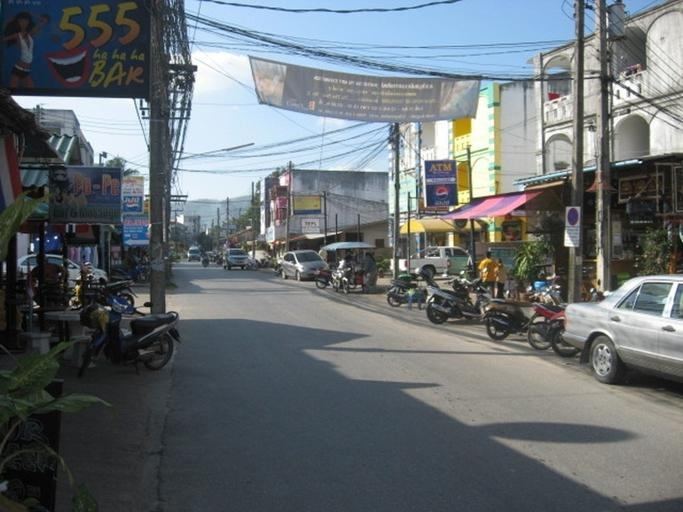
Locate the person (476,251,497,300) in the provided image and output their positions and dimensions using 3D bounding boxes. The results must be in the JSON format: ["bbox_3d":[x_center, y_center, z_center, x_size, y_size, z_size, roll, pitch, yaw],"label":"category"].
[{"bbox_3d":[4.415,0.572,21.372,0.545,1.597,0.473,0,21,11],"label":"person"}]

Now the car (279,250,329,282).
[{"bbox_3d":[-1.887,0.463,34.952,1.191,1.068,2.439,0,-2,-24],"label":"car"}]

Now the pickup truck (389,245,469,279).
[{"bbox_3d":[4.582,0.234,34.695,3.189,1.420,1.680,-3,3,-8],"label":"pickup truck"}]

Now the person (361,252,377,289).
[{"bbox_3d":[1.043,0.565,26.864,0.648,1.381,0.338,-5,8,-43],"label":"person"}]

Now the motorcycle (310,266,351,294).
[{"bbox_3d":[-0.434,1.009,28.271,1.491,0.938,0.686,3,-1,-37],"label":"motorcycle"}]

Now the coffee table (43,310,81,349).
[{"bbox_3d":[-4.982,1.295,12.705,0.491,0.418,0.794,3,-2,-26],"label":"coffee table"}]

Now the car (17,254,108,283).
[{"bbox_3d":[-8.541,0.382,21.669,2.064,0.981,1.025,0,2,-13],"label":"car"}]

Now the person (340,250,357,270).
[{"bbox_3d":[0.210,0.171,27.592,0.620,0.600,1.311,0,6,0],"label":"person"}]
